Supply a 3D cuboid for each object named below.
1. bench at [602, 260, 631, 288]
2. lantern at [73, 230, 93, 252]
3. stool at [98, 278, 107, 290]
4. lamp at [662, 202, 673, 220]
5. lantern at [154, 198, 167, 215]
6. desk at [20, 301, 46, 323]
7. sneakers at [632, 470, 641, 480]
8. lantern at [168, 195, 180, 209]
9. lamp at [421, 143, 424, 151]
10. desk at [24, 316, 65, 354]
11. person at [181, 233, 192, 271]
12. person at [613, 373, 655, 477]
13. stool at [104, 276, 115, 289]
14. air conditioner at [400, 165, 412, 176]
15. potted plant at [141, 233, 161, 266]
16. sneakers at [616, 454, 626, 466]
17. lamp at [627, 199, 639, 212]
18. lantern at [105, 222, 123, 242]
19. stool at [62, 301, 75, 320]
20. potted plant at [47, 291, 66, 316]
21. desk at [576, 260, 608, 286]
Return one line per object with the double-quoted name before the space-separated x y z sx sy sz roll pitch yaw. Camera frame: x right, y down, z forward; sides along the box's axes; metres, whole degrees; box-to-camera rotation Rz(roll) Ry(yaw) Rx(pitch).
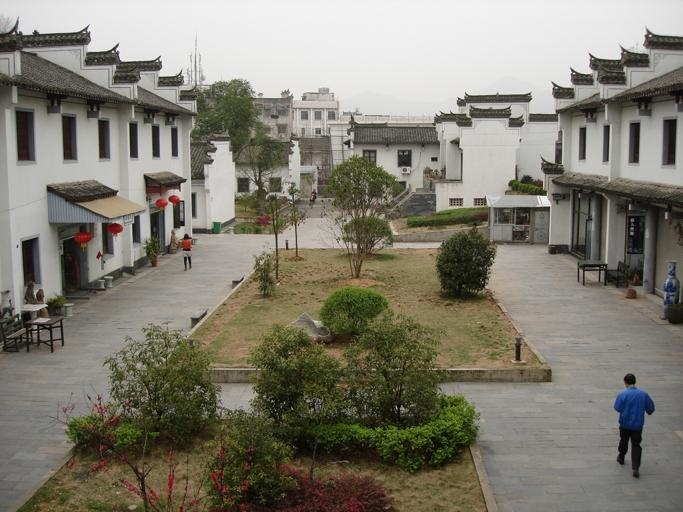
"bench" 9.898 0.623 24.003 0.775 0.770 0.971 -3 7 -12
"lantern" -8.445 -0.526 21.752 0.693 0.746 0.708 -1 6 -1
"stool" -8.524 1.002 24.015 0.311 0.339 0.319 0 1 4
"lamp" 9.715 -1.300 19.935 0.217 0.669 2.520 2 8 26
"lantern" -8.106 -2.329 29.980 0.520 0.586 0.495 1 6 31
"desk" -8.650 1.633 18.818 0.433 0.197 0.734 0 10 -3
"sneakers" 5.146 3.784 11.703 0.120 0.104 0.179 2 8 22
"lantern" -7.809 -2.557 31.364 0.551 0.752 0.565 5 6 24
"lamp" 6.740 -8.958 55.094 0.342 0.698 0.353 0 0 -1
"desk" -8.076 2.120 17.916 0.707 0.948 0.870 0 7 -18
"person" -6.351 -0.198 27.702 0.324 1.431 1.630 -3 7 -14
"person" 5.161 2.955 11.896 0.580 1.689 0.617 5 10 41
"stool" -8.387 0.942 24.364 0.362 0.358 0.362 -1 5 -30
"air conditioner" 5.340 -7.066 55.124 0.995 0.707 0.541 1 1 2
"potted plant" -8.051 -0.186 28.483 0.501 1.130 0.688 -1 7 3
"sneakers" 5.034 3.665 12.107 0.077 0.084 0.196 -1 6 10
"lamp" 9.773 -1.713 22.452 0.313 0.315 0.487 1 4 14
"lantern" -8.048 -0.845 23.586 0.657 0.715 0.670 -1 -1 -5
"stool" -8.364 1.655 20.631 0.407 0.428 0.390 8 13 20
"potted plant" -8.710 1.476 20.500 0.567 0.617 0.495 -2 3 -25
"desk" 9.216 0.543 24.702 0.929 0.905 1.199 0 5 7
